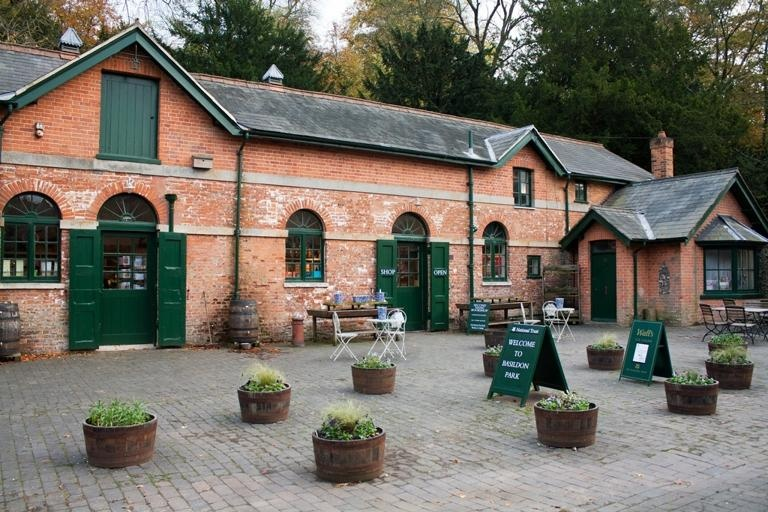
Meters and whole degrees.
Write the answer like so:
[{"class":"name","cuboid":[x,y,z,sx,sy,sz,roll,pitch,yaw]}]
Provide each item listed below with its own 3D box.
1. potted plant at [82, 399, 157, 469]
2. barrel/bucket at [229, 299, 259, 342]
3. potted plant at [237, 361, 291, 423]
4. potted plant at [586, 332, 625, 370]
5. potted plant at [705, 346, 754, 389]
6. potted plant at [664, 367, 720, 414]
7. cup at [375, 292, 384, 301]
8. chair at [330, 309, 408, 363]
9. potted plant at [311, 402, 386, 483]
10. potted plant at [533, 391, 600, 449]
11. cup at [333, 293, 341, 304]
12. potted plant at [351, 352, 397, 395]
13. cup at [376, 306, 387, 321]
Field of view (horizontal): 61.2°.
[{"class":"potted plant","cuboid":[-4.377,3.020,11.031,1.186,0.923,1.145,-1,-3,-30]},{"class":"barrel/bucket","cuboid":[-4.062,1.932,18.910,0.793,1.361,0.485,-2,11,-14]},{"class":"potted plant","cuboid":[-2.280,2.613,12.445,0.942,1.037,0.631,-3,11,-15]},{"class":"potted plant","cuboid":[5.783,2.464,16.507,1.058,0.921,1.047,-1,-5,2]},{"class":"potted plant","cuboid":[7.851,2.484,14.800,1.032,0.905,0.954,3,5,7]},{"class":"potted plant","cuboid":[6.061,2.692,13.045,0.910,0.705,0.883,2,-6,-16]},{"class":"cup","cuboid":[-0.099,1.286,20.580,0.256,0.241,0.249,2,-3,0]},{"class":"chair","cuboid":[-0.094,2.383,18.910,1.696,0.903,1.651,2,-5,-32]},{"class":"potted plant","cuboid":[-0.765,3.119,10.849,1.354,1.184,1.300,9,-13,-38]},{"class":"potted plant","cuboid":[3.198,2.922,11.696,0.991,0.665,0.962,1,-8,-3]},{"class":"cup","cuboid":[-1.376,1.295,19.972,0.306,0.326,0.299,0,-1,0]},{"class":"potted plant","cuboid":[-0.198,2.679,14.324,0.978,0.570,0.952,-1,2,-11]},{"class":"cup","cuboid":[-0.036,1.648,18.719,0.360,0.354,0.349,1,-1,0]}]
